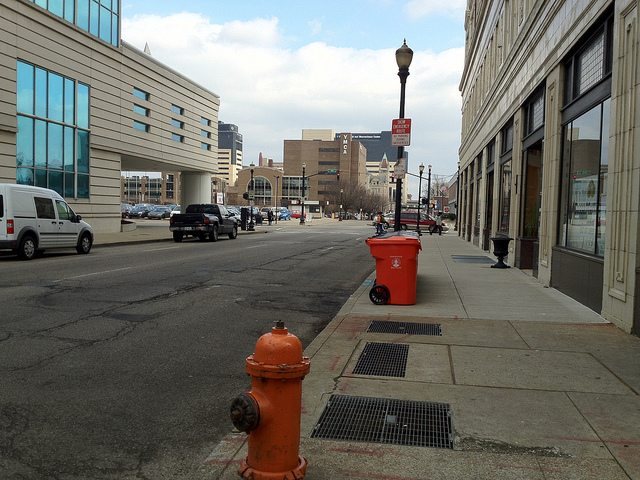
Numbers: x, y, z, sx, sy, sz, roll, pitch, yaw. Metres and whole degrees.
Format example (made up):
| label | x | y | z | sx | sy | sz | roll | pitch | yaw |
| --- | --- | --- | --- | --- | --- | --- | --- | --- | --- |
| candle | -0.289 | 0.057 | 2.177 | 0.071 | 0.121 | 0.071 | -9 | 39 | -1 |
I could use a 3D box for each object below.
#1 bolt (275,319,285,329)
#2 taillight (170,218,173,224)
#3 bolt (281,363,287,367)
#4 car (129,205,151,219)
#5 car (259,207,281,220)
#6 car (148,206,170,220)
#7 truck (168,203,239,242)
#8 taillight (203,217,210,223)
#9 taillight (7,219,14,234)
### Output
| label | x | y | z | sx | sy | sz | roll | pitch | yaw |
| --- | --- | --- | --- | --- | --- | --- | --- | --- | --- |
| bolt | -0.326 | 0.692 | 4.207 | 0.071 | 0.065 | 0.076 | 0 | -2 | -1 |
| taillight | -7.894 | -0.997 | 27.291 | 0.064 | 0.296 | 0.291 | -3 | 7 | -32 |
| bolt | -0.284 | 0.998 | 4.074 | 0.027 | 0.021 | 0.021 | 1 | 5 | 1 |
| car | -23.550 | -3.601 | 66.956 | 1.678 | 1.328 | 2.546 | 0 | 2 | 8 |
| car | -6.661 | -3.539 | 68.608 | 1.306 | 1.166 | 2.979 | 1 | 8 | 10 |
| car | -20.484 | -3.416 | 65.734 | 1.358 | 1.125 | 3.144 | 0 | 3 | 5 |
| truck | -6.194 | -0.978 | 28.725 | 1.837 | 1.441 | 3.848 | 1 | 6 | 14 |
| taillight | -5.966 | -1.042 | 27.086 | 0.276 | 0.426 | 0.220 | 1 | 7 | 2 |
| taillight | -9.434 | -0.396 | 15.641 | 0.048 | 0.448 | 0.199 | 3 | 6 | 26 |
